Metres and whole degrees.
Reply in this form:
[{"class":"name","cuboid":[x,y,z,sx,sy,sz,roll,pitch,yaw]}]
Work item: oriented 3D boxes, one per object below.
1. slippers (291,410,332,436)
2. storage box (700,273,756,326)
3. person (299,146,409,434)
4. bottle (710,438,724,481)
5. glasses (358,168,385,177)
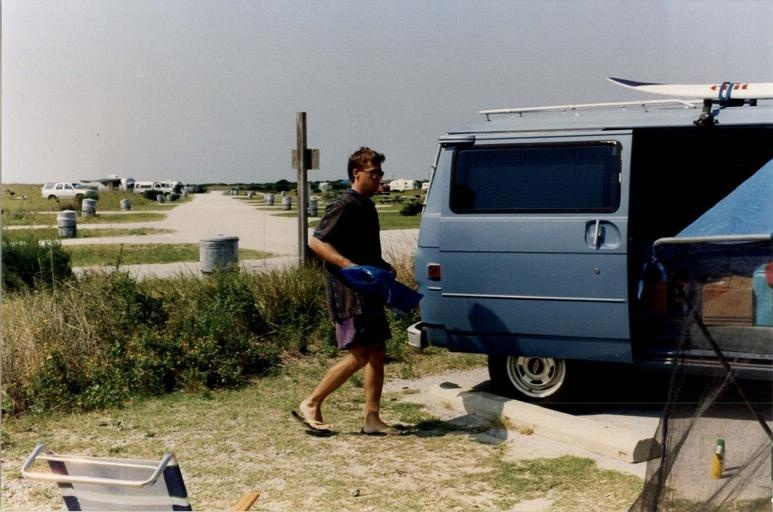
[{"class":"slippers","cuboid":[-0.768,1.710,8.411,0.456,0.112,0.188,30,1,28]},{"class":"storage box","cuboid":[2.716,0.376,7.013,0.642,0.361,0.642,4,4,15]},{"class":"person","cuboid":[-0.340,0.392,8.251,0.972,2.871,0.566,-2,13,-7]},{"class":"bottle","cuboid":[2.449,1.501,6.174,0.119,0.301,0.049,-6,15,-23]},{"class":"glasses","cuboid":[-0.116,-0.816,8.139,0.286,0.083,0.144,12,18,37]}]
